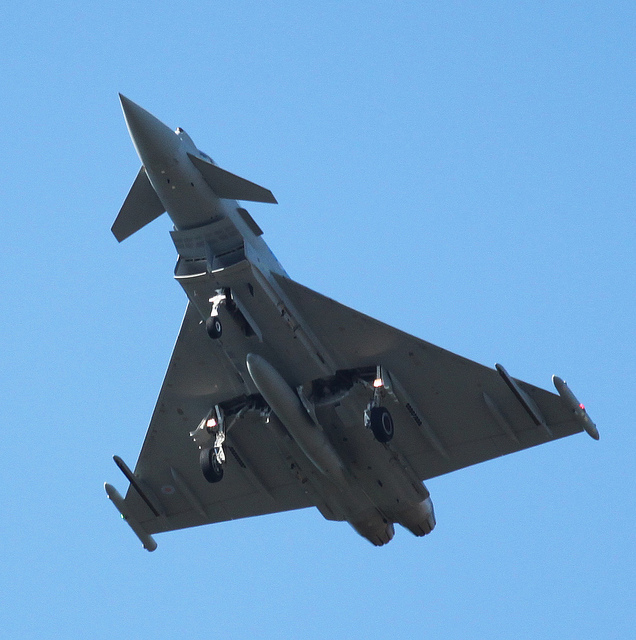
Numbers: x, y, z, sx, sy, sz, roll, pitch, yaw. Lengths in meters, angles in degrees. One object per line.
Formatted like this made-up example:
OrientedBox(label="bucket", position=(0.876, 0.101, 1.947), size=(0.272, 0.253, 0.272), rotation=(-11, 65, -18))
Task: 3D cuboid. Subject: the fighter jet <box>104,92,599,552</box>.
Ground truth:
OrientedBox(label="fighter jet", position=(-0.974, 1.956, 43.318), size=(11.001, 4.856, 10.205), rotation=(16, -55, -17))
